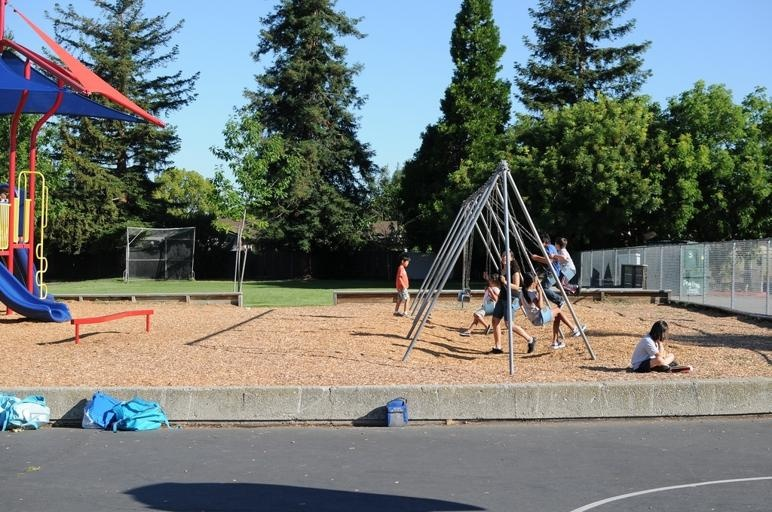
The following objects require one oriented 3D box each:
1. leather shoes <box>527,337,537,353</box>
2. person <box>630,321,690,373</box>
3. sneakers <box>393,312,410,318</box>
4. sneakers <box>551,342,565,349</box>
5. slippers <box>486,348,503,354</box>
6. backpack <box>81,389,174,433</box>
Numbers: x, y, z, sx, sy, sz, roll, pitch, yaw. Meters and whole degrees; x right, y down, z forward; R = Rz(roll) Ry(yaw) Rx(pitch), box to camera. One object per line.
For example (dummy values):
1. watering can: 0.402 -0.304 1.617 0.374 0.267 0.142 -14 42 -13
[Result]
1. leather shoes: 3.435 2.089 23.168 0.185 0.436 0.156 -1 8 -7
2. person: 5.933 1.981 21.097 1.316 1.158 0.887 3 4 32
3. sneakers: 0.474 1.627 27.683 0.438 0.194 0.152 -6 0 22
4. sneakers: 4.091 2.117 23.355 0.329 0.135 0.121 -5 6 -40
5. slippers: 2.594 2.222 23.179 0.310 0.139 0.124 1 2 20
6. backpack: -5.105 3.077 19.277 1.112 0.463 0.879 3 -1 -1
